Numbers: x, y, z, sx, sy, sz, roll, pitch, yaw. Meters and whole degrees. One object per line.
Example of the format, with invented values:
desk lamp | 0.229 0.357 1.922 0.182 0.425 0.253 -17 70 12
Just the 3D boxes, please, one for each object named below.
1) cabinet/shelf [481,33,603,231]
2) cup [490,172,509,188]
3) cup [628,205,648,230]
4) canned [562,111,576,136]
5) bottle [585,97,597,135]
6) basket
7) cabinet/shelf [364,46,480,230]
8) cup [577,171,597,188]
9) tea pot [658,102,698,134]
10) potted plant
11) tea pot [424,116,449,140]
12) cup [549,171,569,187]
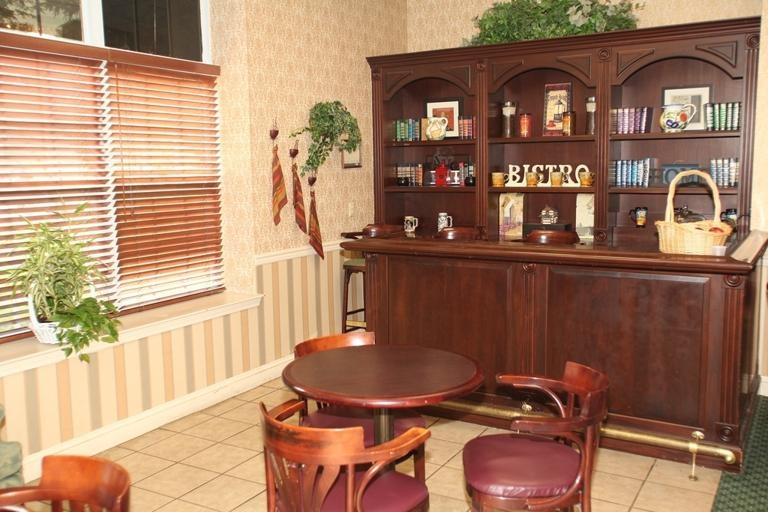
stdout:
cabinet/shelf | 1.726 -1.308 6.265 1.443 1.960 0.816 4 11 17
cup | 1.311 -0.871 6.522 0.156 0.145 0.236 -1 0 20
cup | 2.662 -0.408 5.955 0.188 0.239 0.277 -3 4 -39
canned | 1.956 -1.404 6.054 0.122 0.249 0.133 3 11 13
bottle | 2.145 -1.461 5.935 0.104 0.382 0.229 3 11 16
basket | 2.294 -0.325 4.230 0.544 0.578 0.485 -4 14 9
cabinet/shelf | 0.495 -1.306 6.806 1.441 2.111 0.919 3 11 12
cup | 2.117 -0.812 6.001 0.189 0.126 0.136 2 2 7
tea pot | 2.934 -1.384 5.764 0.411 0.308 0.300 3 6 24
potted plant | -2.409 0.201 4.261 0.693 1.187 0.836 -4 11 -24
tea pot | 0.621 -1.496 6.713 0.272 0.264 0.225 0 10 -4
cup | 1.910 -0.848 6.239 0.184 0.165 0.430 4 10 17
